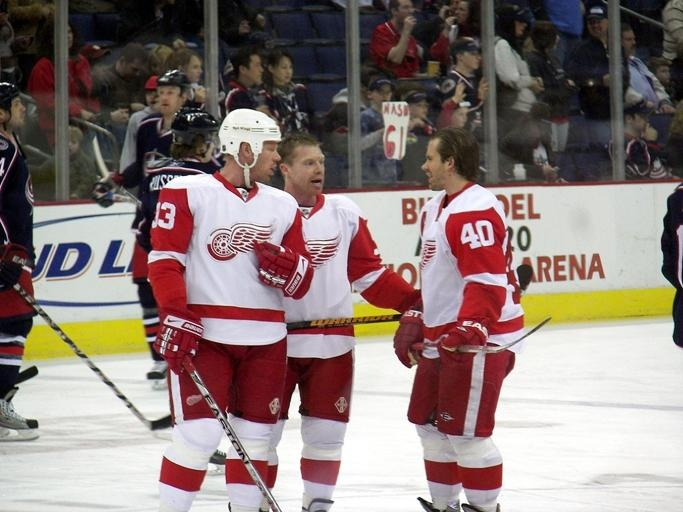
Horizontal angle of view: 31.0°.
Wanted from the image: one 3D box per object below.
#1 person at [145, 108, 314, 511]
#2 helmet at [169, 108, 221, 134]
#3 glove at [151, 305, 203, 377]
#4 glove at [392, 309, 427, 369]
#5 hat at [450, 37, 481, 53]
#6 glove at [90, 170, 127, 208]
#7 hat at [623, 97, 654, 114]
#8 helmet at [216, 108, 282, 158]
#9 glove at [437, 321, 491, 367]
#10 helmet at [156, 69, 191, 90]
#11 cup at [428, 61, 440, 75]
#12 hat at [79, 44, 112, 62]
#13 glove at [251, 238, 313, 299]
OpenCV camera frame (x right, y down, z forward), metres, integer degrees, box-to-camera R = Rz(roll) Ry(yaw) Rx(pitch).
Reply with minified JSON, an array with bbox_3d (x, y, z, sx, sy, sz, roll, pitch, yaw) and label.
[{"bbox_3d":[-0.623,0.255,6.411,1.024,1.890,0.721,-12,20,-26],"label":"person"},{"bbox_3d":[-0.939,-0.863,7.814,0.221,0.166,0.166,-13,17,-10],"label":"helmet"},{"bbox_3d":[-0.839,0.454,6.298,0.294,0.281,0.126,17,-9,-20],"label":"glove"},{"bbox_3d":[0.368,0.456,6.874,0.097,0.282,0.215,9,17,-25],"label":"glove"},{"bbox_3d":[1.171,-2.001,11.659,0.226,0.116,0.139,-5,18,1],"label":"hat"},{"bbox_3d":[-1.701,-0.513,9.052,0.130,0.174,0.383,-20,20,20],"label":"glove"},{"bbox_3d":[2.965,-1.493,12.325,0.226,0.081,0.169,5,-3,13],"label":"hat"},{"bbox_3d":[-0.491,-0.659,6.490,0.311,0.236,0.226,-1,4,-2],"label":"helmet"},{"bbox_3d":[0.647,0.435,6.465,0.222,0.099,0.169,-9,-3,44],"label":"glove"},{"bbox_3d":[-1.215,-1.305,9.181,0.155,0.105,0.222,3,0,36],"label":"helmet"},{"bbox_3d":[0.859,-1.759,11.581,0.144,0.140,0.090,2,2,14],"label":"cup"},{"bbox_3d":[-2.090,-1.723,10.448,0.191,0.055,0.120,6,54,7],"label":"hat"},{"bbox_3d":[-0.301,0.063,6.372,0.325,0.224,0.128,25,-29,-29],"label":"glove"}]
